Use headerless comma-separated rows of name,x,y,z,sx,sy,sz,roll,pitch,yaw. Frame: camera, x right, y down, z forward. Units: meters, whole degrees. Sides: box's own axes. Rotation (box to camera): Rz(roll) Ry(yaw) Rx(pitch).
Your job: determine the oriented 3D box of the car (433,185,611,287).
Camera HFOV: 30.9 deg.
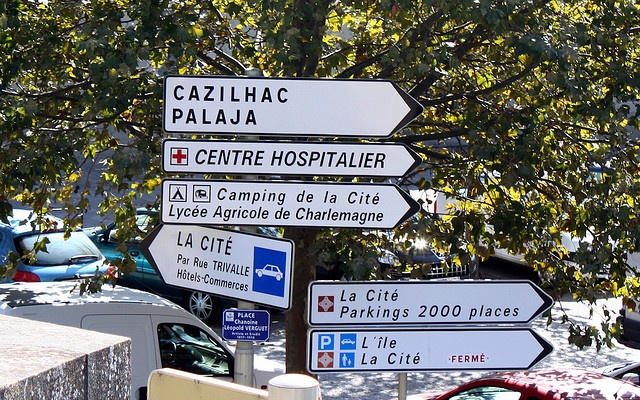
car,4.812,0.846,25.352,3.918,1.365,1.827,2,-6,29
